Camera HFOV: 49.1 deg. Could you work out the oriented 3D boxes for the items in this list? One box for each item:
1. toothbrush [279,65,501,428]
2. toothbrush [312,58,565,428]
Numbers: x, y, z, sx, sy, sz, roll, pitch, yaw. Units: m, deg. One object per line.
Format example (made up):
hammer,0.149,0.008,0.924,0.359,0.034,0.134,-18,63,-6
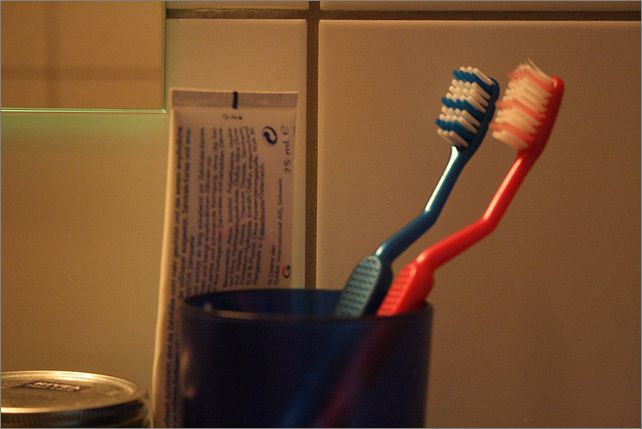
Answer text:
toothbrush,0.089,0.044,0.842,0.044,0.501,0.057,32,-10,-35
toothbrush,0.153,0.042,0.856,0.056,0.504,0.069,26,-3,0
